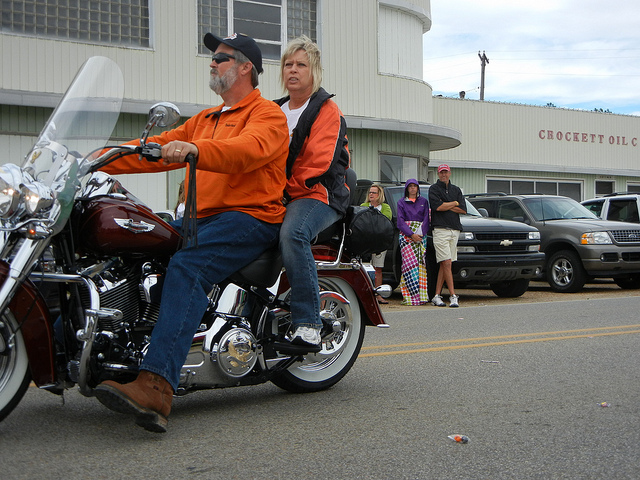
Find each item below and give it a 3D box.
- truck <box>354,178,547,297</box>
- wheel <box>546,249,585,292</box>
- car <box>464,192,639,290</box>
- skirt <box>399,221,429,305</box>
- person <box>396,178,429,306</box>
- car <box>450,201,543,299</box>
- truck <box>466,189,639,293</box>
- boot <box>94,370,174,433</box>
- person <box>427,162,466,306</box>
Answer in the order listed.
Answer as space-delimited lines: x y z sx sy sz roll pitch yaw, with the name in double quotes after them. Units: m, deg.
2.537 -0.078 12.680 2.050 2.063 3.845 -1 1 -37 "truck"
5.318 0.688 12.841 0.297 0.936 0.759 2 5 -38 "wheel"
5.337 -0.047 13.785 1.619 1.750 3.504 0 0 -31 "car"
1.698 0.409 10.888 0.533 1.467 0.516 1 8 -5 "skirt"
1.691 0.036 10.805 0.581 2.326 0.405 0 0 9 "person"
3.246 0.283 11.978 1.265 1.295 2.150 1 -3 -16 "car"
5.403 -0.052 14.124 1.967 2.095 3.969 -1 1 -31 "truck"
-1.097 1.000 3.541 0.211 0.379 0.454 1 1 41 "boot"
2.275 -0.115 10.744 0.628 2.616 0.973 0 0 13 "person"
